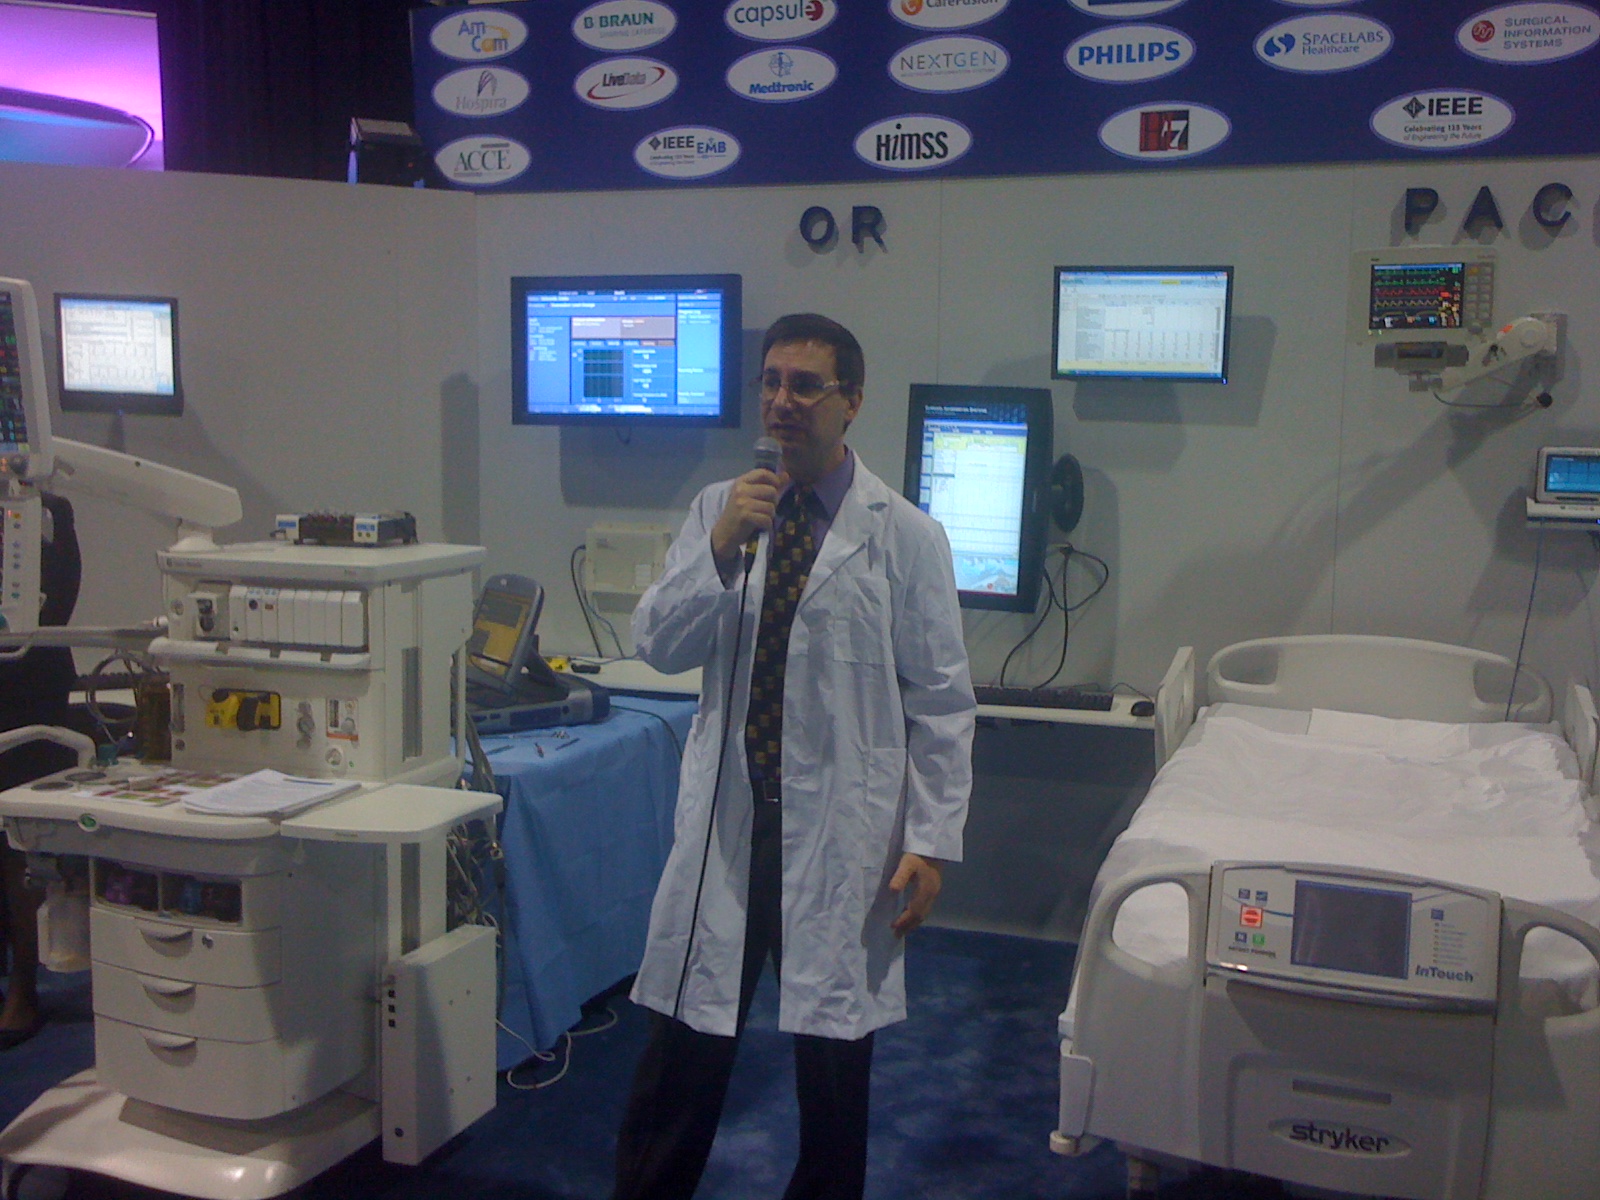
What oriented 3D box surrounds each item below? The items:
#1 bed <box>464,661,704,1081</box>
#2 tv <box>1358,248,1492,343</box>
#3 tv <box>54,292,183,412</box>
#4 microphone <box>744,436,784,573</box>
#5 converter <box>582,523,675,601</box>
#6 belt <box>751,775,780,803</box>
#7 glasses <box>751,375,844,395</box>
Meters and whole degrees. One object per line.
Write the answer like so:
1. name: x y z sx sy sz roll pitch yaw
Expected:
1. bed: -0.608 0.763 3.735 0.651 0.596 1.087 2 4 14
2. tv: 1.971 -0.995 4.067 0.242 0.296 0.415 -39 34 -29
3. tv: -2.395 -0.872 4.618 0.355 0.391 0.041 3 8 -5
4. microphone: -0.083 -0.206 2.704 0.076 0.259 0.217 -2 6 -12
5. converter: -0.631 -0.178 4.854 0.335 0.311 0.240 3 9 10
6. belt: -0.070 0.373 2.643 0.064 0.050 0.037 4 10 22
7. glasses: 0.003 -0.430 2.649 0.162 0.046 0.071 0 5 2
